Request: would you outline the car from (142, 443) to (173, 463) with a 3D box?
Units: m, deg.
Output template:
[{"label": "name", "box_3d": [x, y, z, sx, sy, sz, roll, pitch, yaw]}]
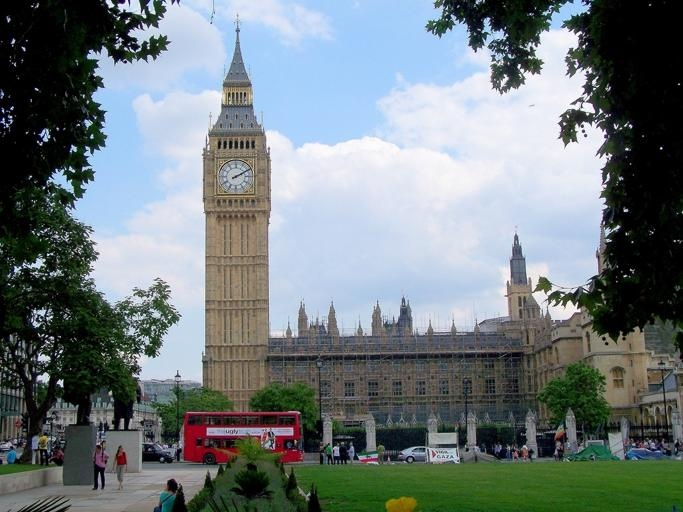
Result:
[{"label": "car", "box_3d": [-11.175, 12.021, 61.152, 1.924, 0.894, 1.189, 0, -4, 1]}]

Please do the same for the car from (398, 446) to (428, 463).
[{"label": "car", "box_3d": [4.673, 13.306, 67.329, 1.644, 1.116, 2.245, -1, -14, -3]}]

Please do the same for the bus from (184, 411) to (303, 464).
[{"label": "bus", "box_3d": [-5.866, 10.827, 59.587, 6.983, 2.991, 2.221, 1, -10, -4]}]
